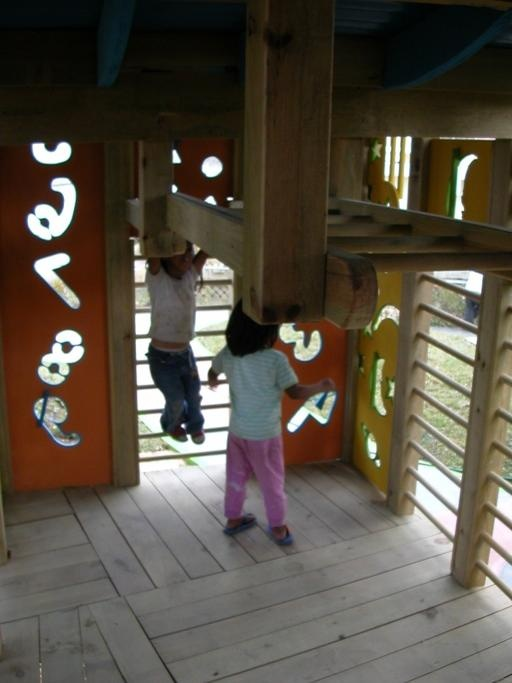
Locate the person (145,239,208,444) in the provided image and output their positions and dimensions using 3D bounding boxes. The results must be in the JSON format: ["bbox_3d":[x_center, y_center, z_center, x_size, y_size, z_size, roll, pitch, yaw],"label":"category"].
[{"bbox_3d":[-0.525,0.053,3.828,0.373,1.402,0.351,0,11,-7],"label":"person"}]

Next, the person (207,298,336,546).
[{"bbox_3d":[0.023,0.501,3.631,0.540,1.596,0.600,-3,12,-22],"label":"person"}]

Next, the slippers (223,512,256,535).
[{"bbox_3d":[-0.098,1.208,3.918,0.245,0.112,0.091,-24,30,-34],"label":"slippers"}]

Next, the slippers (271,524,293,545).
[{"bbox_3d":[0.169,1.244,3.736,0.073,0.088,0.184,-4,16,-15],"label":"slippers"}]
